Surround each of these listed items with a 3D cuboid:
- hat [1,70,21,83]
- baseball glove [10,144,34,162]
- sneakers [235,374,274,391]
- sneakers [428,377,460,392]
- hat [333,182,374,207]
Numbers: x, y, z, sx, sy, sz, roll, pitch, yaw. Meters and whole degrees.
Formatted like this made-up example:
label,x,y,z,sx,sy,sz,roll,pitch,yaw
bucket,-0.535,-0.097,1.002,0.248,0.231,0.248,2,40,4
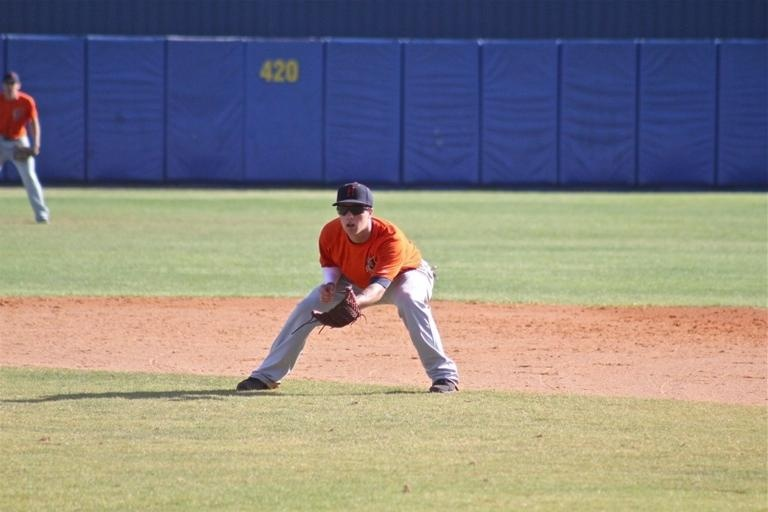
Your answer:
label,x,y,z,sx,sy,sz,roll,pitch,yaw
hat,-6.814,-3.204,30.546,0.288,0.173,0.287,7,13,27
baseball glove,-6.536,-1.839,30.421,0.269,0.209,0.315,4,5,-13
sneakers,-1.880,1.815,24.290,0.608,0.206,0.199,3,-1,-2
sneakers,0.881,1.831,24.204,0.453,0.163,0.156,-7,0,-20
hat,-0.431,-0.864,23.955,0.511,0.236,0.334,3,3,3
